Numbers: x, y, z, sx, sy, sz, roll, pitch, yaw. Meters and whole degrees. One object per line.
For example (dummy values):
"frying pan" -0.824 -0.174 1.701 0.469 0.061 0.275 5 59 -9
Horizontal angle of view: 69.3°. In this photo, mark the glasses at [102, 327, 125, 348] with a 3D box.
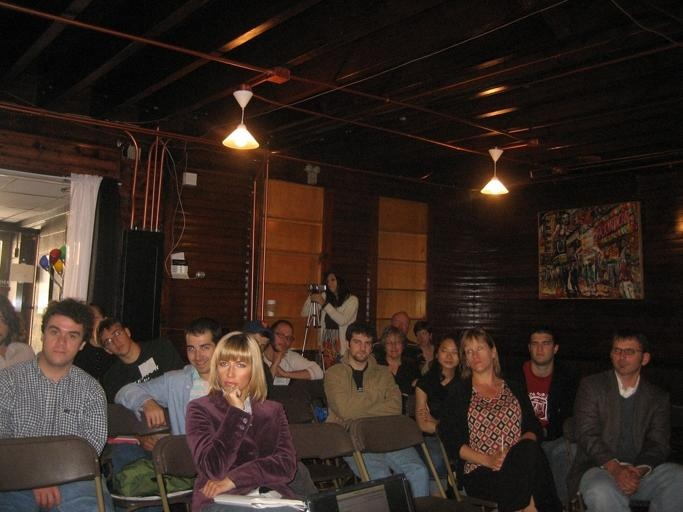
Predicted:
"glasses" -1.942 0.692 4.184 0.156 0.097 0.190 -10 -4 -21

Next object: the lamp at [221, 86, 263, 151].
"lamp" -1.004 -1.436 5.010 0.390 0.577 0.353 -9 25 -34
